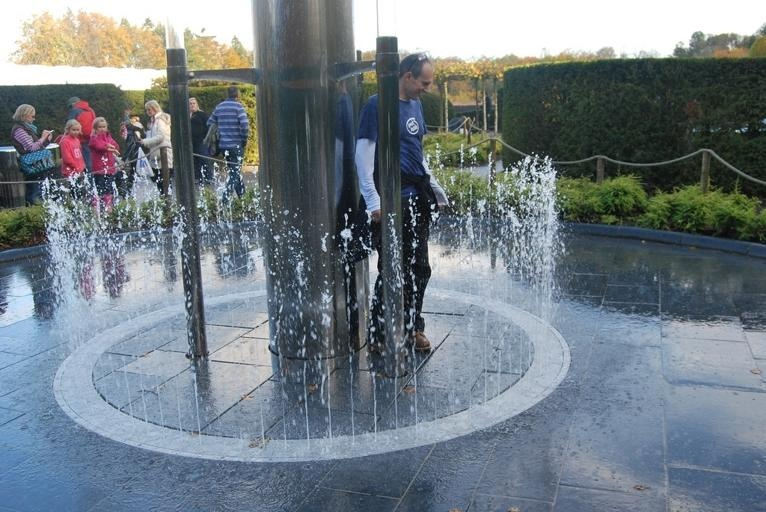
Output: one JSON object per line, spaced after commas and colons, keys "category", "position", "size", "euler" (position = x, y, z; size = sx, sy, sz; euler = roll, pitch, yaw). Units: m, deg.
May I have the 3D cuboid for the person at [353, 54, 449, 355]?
{"category": "person", "position": [0.222, -0.472, 6.166], "size": [0.957, 2.936, 0.624], "euler": [-9, 14, -33]}

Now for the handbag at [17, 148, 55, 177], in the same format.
{"category": "handbag", "position": [-6.836, -1.850, 12.449], "size": [0.593, 0.533, 0.323], "euler": [-10, 15, -33]}

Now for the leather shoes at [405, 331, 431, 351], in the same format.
{"category": "leather shoes", "position": [0.370, 0.880, 6.453], "size": [0.120, 0.146, 0.295], "euler": [1, -4, -24]}

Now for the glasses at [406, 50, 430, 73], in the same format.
{"category": "glasses", "position": [0.302, -1.826, 5.992], "size": [0.278, 0.221, 0.190], "euler": [-1, 12, 0]}
